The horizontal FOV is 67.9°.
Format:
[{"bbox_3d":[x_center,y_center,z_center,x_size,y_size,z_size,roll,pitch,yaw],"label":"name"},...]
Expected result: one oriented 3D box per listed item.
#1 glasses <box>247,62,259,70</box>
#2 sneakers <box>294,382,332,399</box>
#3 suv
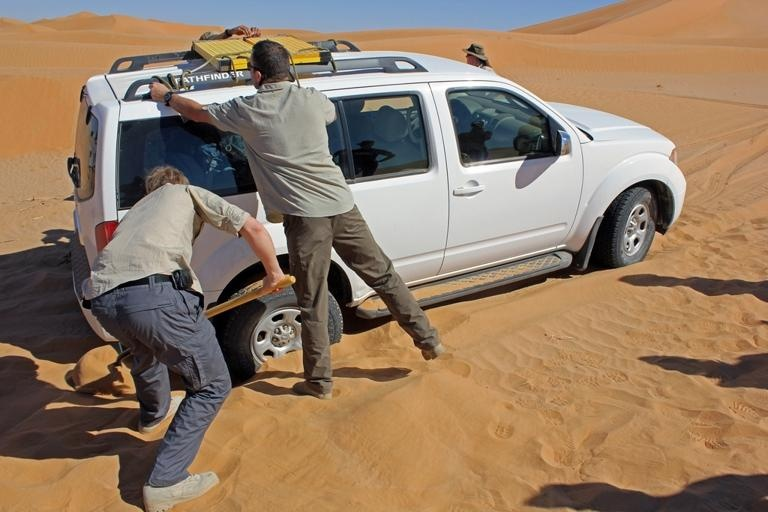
[{"bbox_3d":[-1.110,-1.594,4.783,0.043,0.065,0.194,-11,28,-18],"label":"glasses"},{"bbox_3d":[-0.643,1.172,5.143,0.379,0.136,0.133,12,21,26],"label":"sneakers"},{"bbox_3d":[-0.065,-0.940,6.819,7.299,2.836,3.082,-12,26,-17],"label":"suv"}]
